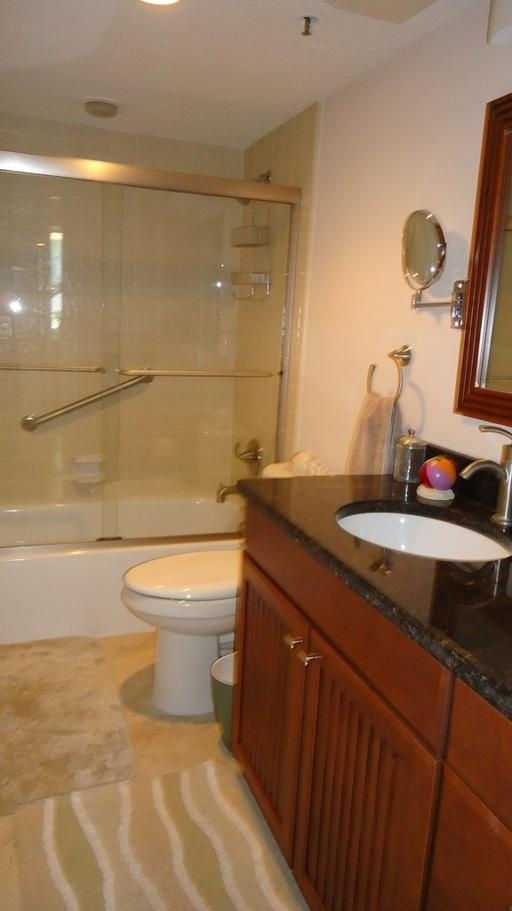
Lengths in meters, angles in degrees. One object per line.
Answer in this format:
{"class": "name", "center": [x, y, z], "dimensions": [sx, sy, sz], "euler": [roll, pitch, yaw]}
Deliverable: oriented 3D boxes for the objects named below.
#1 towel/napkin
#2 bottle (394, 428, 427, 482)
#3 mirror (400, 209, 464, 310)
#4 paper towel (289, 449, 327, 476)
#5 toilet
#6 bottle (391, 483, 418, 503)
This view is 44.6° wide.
{"class": "towel/napkin", "center": [0.303, -0.055, 1.602], "dimensions": [0.083, 0.261, 0.185], "euler": [5, 9, -21]}
{"class": "bottle", "center": [0.364, 0.000, 1.471], "dimensions": [0.071, 0.116, 0.162], "euler": [4, 8, 14]}
{"class": "mirror", "center": [0.414, -0.441, 1.480], "dimensions": [0.227, 0.249, 0.022], "euler": [-11, 12, -34]}
{"class": "paper towel", "center": [0.164, 0.029, 1.959], "dimensions": [0.040, 0.078, 0.088], "euler": [17, 9, -37]}
{"class": "toilet", "center": [-0.163, 0.396, 2.151], "dimensions": [0.606, 1.036, 0.530], "euler": [0, 4, -14]}
{"class": "bottle", "center": [0.315, 0.078, 1.325], "dimensions": [0.038, 0.031, 0.042], "euler": [0, 4, 0]}
